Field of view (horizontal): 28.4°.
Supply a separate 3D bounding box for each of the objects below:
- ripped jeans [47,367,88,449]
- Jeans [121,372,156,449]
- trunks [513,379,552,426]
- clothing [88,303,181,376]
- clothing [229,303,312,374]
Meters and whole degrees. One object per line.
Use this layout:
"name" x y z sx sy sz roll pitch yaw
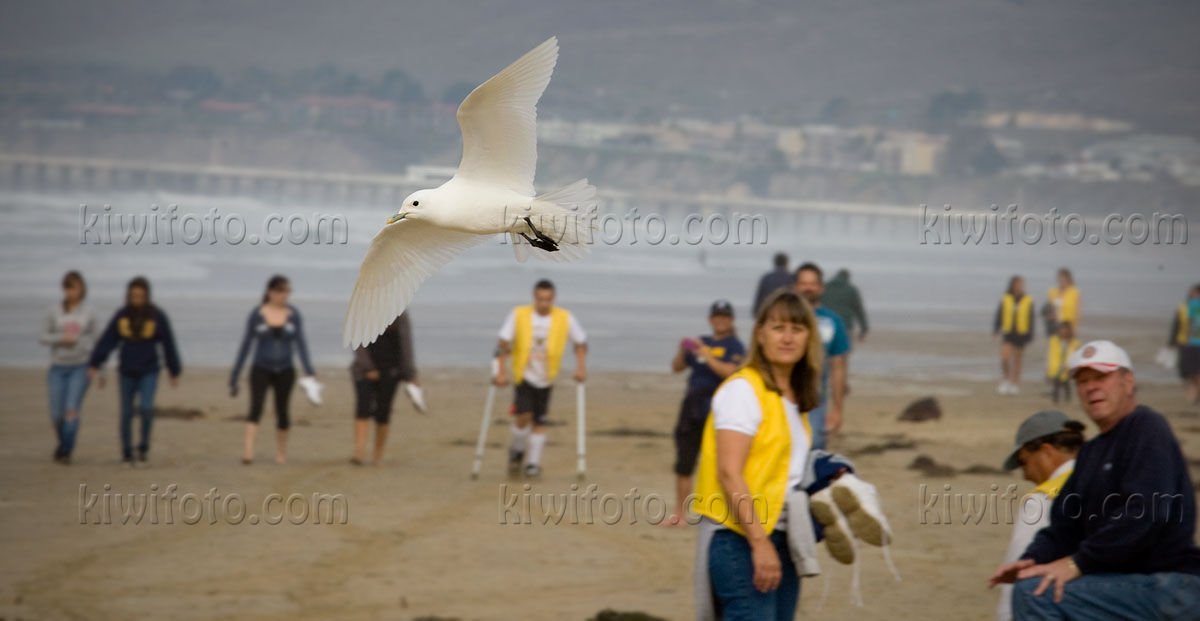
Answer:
"ripped jeans" -13.892 2.597 61.790 1.056 2.407 0.315 3 8 -7
"Jeans" -12.051 2.684 61.714 0.976 2.212 0.240 2 8 -12
"trunks" -1.718 2.399 62.280 1.568 1.159 0.787 2 -16 4
"clothing" -12.116 0.850 61.672 2.393 1.427 0.789 4 -3 -9
"clothing" -9.102 0.829 64.873 2.960 2.108 1.167 0 0 -26
